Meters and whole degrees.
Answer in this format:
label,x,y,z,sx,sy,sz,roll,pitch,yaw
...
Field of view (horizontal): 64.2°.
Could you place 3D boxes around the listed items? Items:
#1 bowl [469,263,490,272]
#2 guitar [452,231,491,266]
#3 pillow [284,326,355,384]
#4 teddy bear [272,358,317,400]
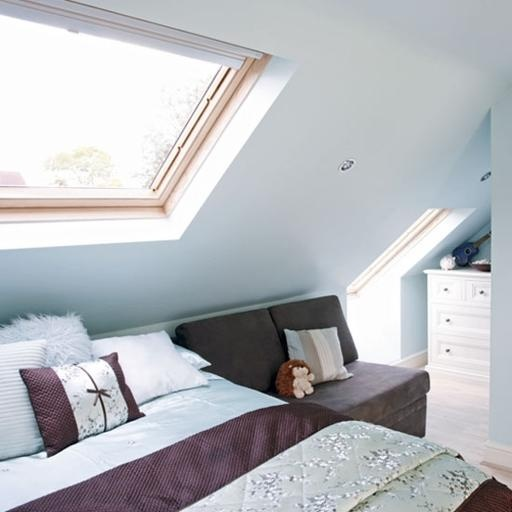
label,x,y,z,sx,sy,sz,roll,pitch,yaw
bowl,2.212,0.109,4.018,0.090,0.082,0.230,-3,-2,-7
guitar,2.255,-0.072,4.298,0.412,0.155,0.119,-35,-11,-4
pillow,0.413,0.687,2.816,0.408,0.272,0.140,3,-20,-31
teddy bear,0.250,0.782,2.653,0.272,0.231,0.200,-6,-3,-41
